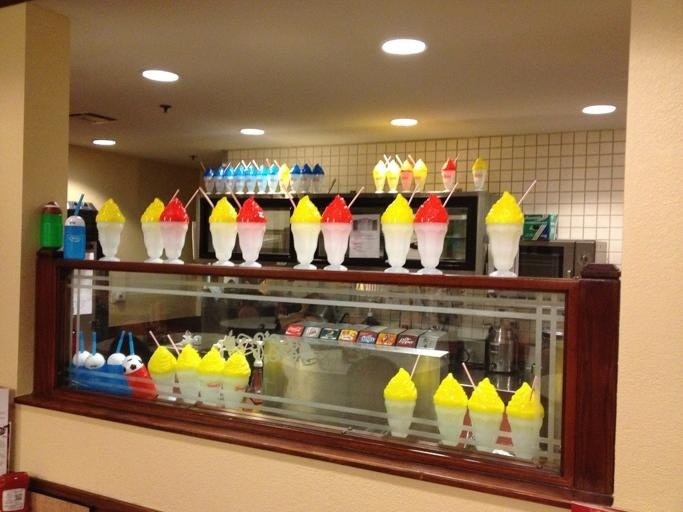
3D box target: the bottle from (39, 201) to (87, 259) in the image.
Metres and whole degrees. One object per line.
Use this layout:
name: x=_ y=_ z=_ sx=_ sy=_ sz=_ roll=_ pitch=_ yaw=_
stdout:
bottle: x=-1.170 y=-0.108 z=2.297 sx=0.164 sy=0.241 sz=0.222 roll=-1 pitch=1 yaw=-30

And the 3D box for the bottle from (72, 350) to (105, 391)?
bottle: x=-1.027 y=0.464 z=2.241 sx=0.159 sy=0.152 sz=0.093 roll=5 pitch=6 yaw=34
